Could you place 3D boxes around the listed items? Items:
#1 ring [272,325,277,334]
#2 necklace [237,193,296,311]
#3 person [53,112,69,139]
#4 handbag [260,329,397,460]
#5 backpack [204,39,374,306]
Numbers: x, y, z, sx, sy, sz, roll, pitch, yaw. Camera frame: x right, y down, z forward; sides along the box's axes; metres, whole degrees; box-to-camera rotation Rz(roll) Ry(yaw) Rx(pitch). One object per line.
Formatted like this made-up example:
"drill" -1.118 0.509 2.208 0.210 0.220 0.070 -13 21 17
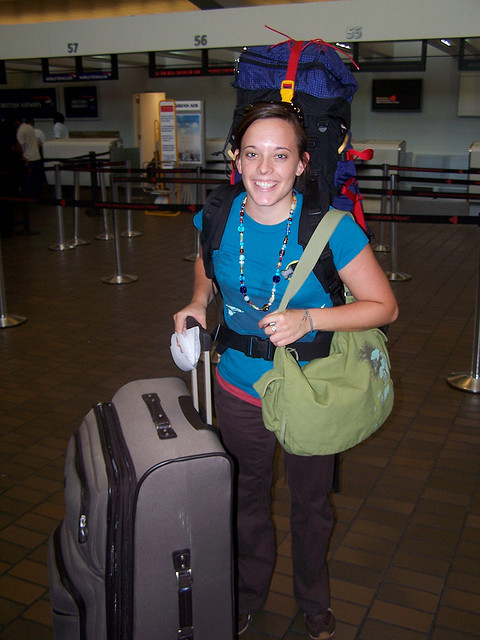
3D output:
"ring" 0.072 0.019 1.044 0.010 0.015 0.002 11 22 33
"necklace" 0.065 -0.170 1.263 0.143 0.274 0.140 2 18 10
"person" -5.059 -5.485 14.174 0.334 0.669 0.633 -6 19 -15
"handbag" 0.231 0.170 1.224 0.348 0.274 0.161 -15 23 -38
"backpack" 0.151 -0.489 1.546 0.470 0.651 0.367 8 14 9
